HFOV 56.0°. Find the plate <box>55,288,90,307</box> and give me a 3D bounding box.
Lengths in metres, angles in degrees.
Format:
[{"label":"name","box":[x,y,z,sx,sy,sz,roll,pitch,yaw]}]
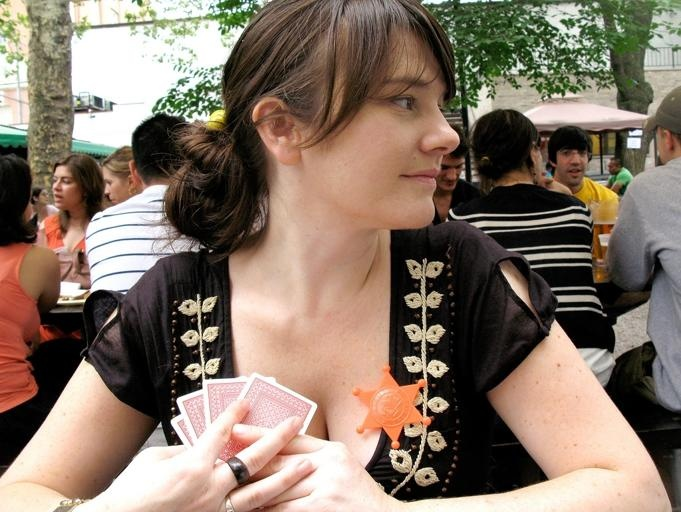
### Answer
[{"label":"plate","box":[-1.861,0.299,4.467,0.226,0.052,0.205,0,3,-10]}]
